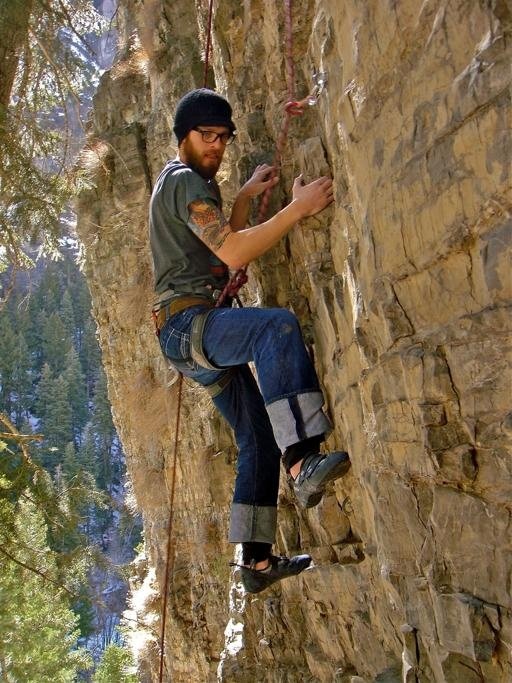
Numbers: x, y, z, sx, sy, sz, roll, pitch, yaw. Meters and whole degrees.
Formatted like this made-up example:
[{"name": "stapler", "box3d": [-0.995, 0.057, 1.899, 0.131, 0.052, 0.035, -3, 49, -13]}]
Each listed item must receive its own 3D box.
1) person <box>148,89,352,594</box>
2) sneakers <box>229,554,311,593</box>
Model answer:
[{"name": "person", "box3d": [-0.049, -0.069, 3.064, 0.728, 2.183, 0.900, 10, -20, -33]}, {"name": "sneakers", "box3d": [0.087, 0.983, 3.011, 0.288, 0.147, 0.184, -3, -18, 3]}]
